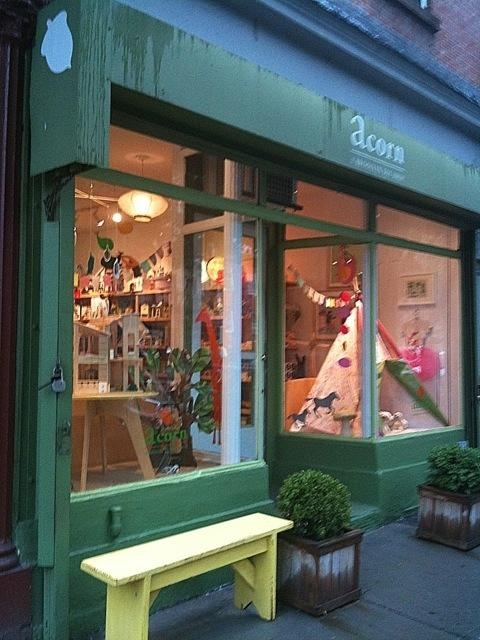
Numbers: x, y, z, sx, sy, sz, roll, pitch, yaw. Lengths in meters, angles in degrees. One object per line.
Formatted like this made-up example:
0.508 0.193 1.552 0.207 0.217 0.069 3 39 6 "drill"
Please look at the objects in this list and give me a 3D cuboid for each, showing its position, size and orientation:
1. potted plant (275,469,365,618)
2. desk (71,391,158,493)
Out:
0.469 1.277 3.048 0.501 0.762 0.402 1 -7 1 "potted plant"
-0.753 0.650 3.104 0.516 0.539 0.486 -13 11 -15 "desk"
